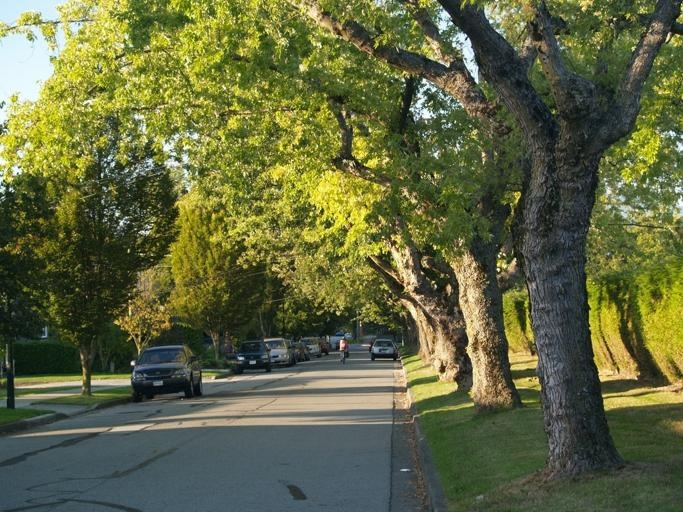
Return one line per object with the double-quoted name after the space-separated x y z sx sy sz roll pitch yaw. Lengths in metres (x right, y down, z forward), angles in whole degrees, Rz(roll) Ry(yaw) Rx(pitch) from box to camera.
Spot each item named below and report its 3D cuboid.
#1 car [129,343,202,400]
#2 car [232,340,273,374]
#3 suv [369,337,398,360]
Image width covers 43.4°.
-6.294 4.087 30.559 2.360 2.043 2.028 -2 -13 -17 "car"
-4.965 5.673 47.977 1.835 1.936 1.325 -5 -11 1 "car"
3.148 7.086 64.998 1.501 1.436 3.817 0 2 3 "suv"
